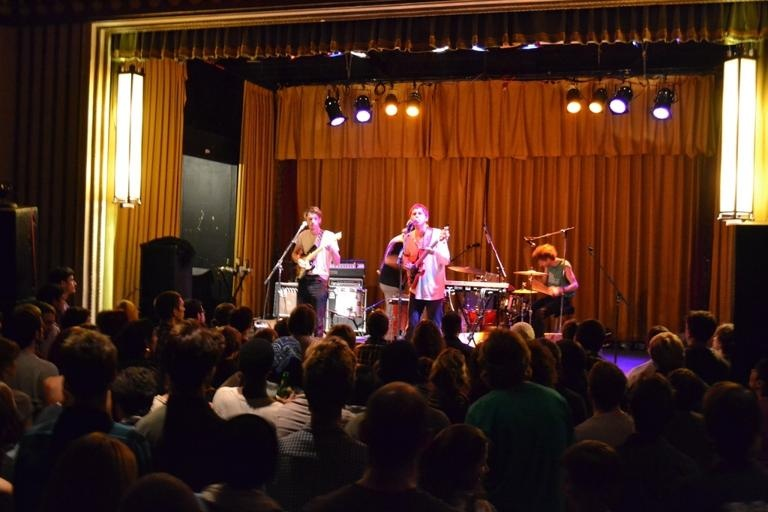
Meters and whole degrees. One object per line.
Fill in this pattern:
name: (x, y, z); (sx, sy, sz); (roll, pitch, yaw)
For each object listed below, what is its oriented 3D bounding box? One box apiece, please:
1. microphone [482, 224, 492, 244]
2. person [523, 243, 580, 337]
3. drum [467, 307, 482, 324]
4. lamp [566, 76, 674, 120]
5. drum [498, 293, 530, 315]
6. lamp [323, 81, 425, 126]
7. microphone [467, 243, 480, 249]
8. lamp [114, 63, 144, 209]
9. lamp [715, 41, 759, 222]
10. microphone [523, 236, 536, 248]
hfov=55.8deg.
microphone: (1.627, -0.345, 11.493); (0.080, 0.345, 0.073); (-4, 24, 46)
person: (2.283, 0.555, 9.923); (0.621, 1.440, 0.646); (2, 3, -10)
drum: (1.174, 0.771, 9.398); (0.163, 0.189, 0.180); (0, 2, -7)
lamp: (3.523, -2.320, 10.528); (0.357, 0.558, 1.357); (-12, 15, -39)
drum: (1.747, 0.625, 9.797); (0.316, 0.265, 0.329); (0, -5, 29)
lamp: (-0.090, -2.435, 11.591); (1.634, 0.745, 0.510); (1, -40, 23)
microphone: (1.345, -0.156, 10.855); (0.158, 0.060, 0.093); (-7, 5, -36)
lamp: (-2.966, -1.360, 8.418); (0.302, 1.635, 0.228); (3, -1, -19)
lamp: (3.670, -1.228, 7.567); (0.366, 1.737, 0.380); (2, 9, 27)
microphone: (2.257, -0.219, 11.269); (0.177, 0.148, 0.265); (5, -1, 19)
